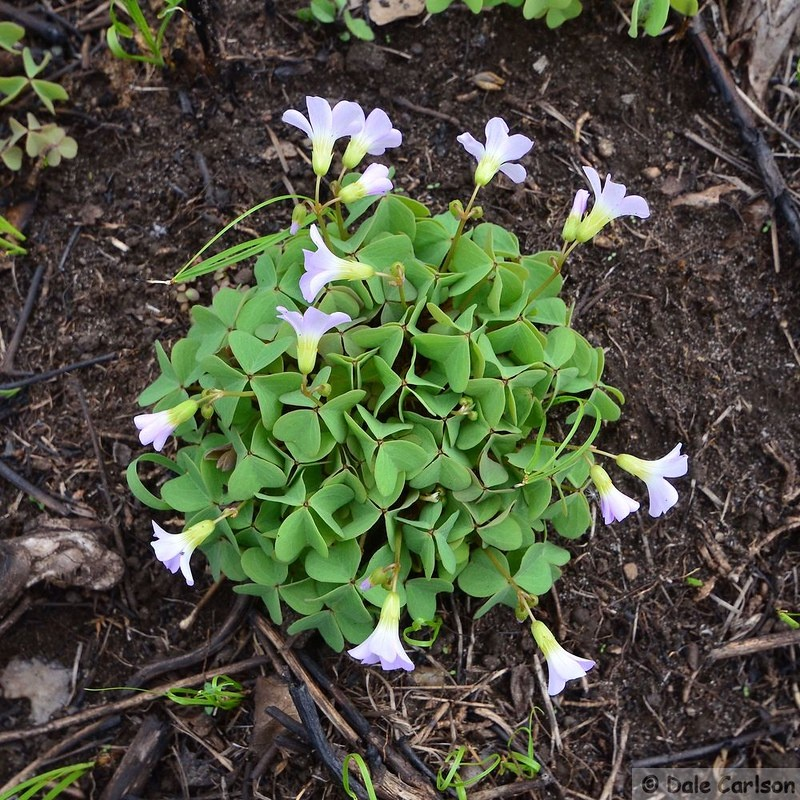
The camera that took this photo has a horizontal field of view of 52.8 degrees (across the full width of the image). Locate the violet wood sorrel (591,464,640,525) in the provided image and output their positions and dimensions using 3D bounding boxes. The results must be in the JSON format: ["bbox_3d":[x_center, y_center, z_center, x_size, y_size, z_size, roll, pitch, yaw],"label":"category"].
[{"bbox_3d":[0.640,0.238,2.324,0.154,0.100,0.252,66,23,-7],"label":"violet wood sorrel"}]

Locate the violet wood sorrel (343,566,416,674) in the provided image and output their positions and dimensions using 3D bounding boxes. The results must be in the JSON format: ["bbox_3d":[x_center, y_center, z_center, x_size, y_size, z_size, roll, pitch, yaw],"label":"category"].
[{"bbox_3d":[-0.018,0.569,2.148,0.191,0.191,0.243,10,78,-30],"label":"violet wood sorrel"}]

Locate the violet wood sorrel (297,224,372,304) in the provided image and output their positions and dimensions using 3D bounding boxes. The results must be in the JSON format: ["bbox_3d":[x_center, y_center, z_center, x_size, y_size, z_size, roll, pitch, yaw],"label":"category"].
[{"bbox_3d":[-0.191,-0.364,2.171,0.247,0.146,0.158,12,49,-2],"label":"violet wood sorrel"}]

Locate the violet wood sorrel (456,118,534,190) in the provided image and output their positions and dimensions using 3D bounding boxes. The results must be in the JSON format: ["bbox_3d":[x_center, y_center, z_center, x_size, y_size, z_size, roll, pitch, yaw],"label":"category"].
[{"bbox_3d":[0.294,-0.694,2.392,0.262,0.263,0.100,-5,80,1],"label":"violet wood sorrel"}]

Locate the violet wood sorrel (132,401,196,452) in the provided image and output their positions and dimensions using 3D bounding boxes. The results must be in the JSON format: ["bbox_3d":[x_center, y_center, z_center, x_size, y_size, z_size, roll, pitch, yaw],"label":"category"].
[{"bbox_3d":[-0.650,0.065,2.250,0.183,0.074,0.114,-37,94,-7],"label":"violet wood sorrel"}]
